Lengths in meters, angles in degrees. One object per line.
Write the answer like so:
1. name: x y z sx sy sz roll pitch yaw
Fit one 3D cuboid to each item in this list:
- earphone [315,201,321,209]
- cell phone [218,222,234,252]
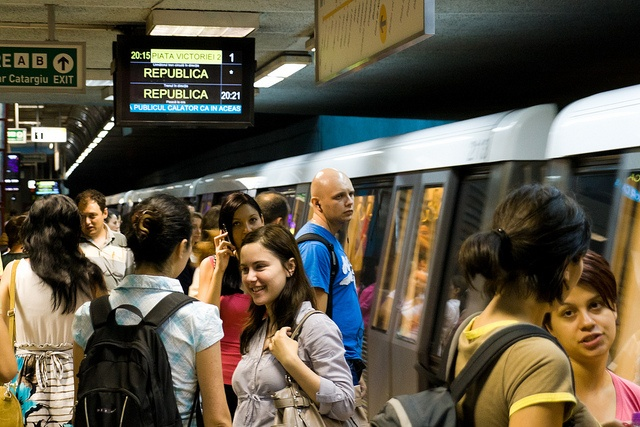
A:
1. earphone: -0.004 -0.071 4.429 0.017 0.047 0.035 -44 -18 6
2. cell phone: -0.730 0.188 4.391 0.076 0.190 0.145 -13 1 -8
